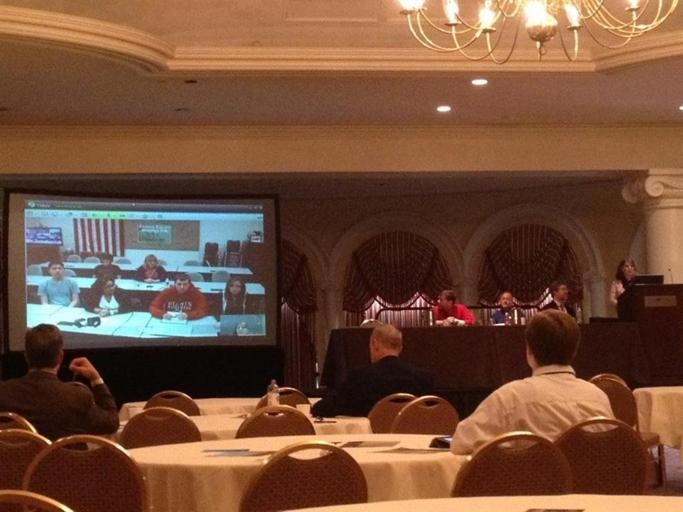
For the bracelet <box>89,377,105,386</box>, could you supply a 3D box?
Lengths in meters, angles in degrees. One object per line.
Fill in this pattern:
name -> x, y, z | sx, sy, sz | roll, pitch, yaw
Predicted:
bracelet -> -1.608, 0.826, 4.530 | 0.073, 0.054, 0.075 | 2, -9, -6
